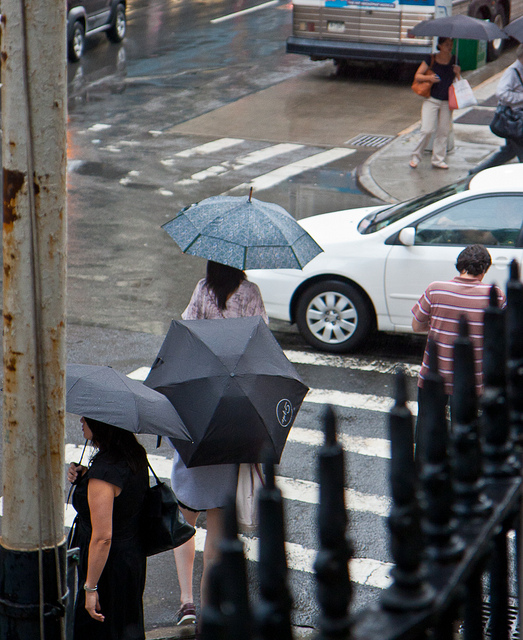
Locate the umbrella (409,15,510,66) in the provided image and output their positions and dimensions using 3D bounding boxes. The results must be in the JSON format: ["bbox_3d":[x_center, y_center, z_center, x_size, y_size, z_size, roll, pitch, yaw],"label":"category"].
[{"bbox_3d":[2.291,-3.409,15.409,0.685,0.523,0.786,1,4,-4],"label":"umbrella"}]

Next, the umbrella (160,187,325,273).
[{"bbox_3d":[-0.028,-0.477,6.993,0.625,0.360,0.644,13,-24,-39],"label":"umbrella"}]

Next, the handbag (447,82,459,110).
[{"bbox_3d":[2.203,-2.604,15.100,0.097,0.339,0.242,-13,15,-6],"label":"handbag"}]

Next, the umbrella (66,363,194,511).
[{"bbox_3d":[-0.614,0.378,5.545,0.580,0.320,0.561,3,8,19],"label":"umbrella"}]

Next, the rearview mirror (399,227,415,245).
[{"bbox_3d":[1.037,-0.600,9.365,0.080,0.136,0.105,6,3,-44],"label":"rearview mirror"}]

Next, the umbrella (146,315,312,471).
[{"bbox_3d":[-0.147,0.373,5.949,0.711,0.517,0.905,9,50,3],"label":"umbrella"}]

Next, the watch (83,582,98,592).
[{"bbox_3d":[-0.701,1.078,5.358,0.033,0.013,0.036,9,8,-28],"label":"watch"}]
